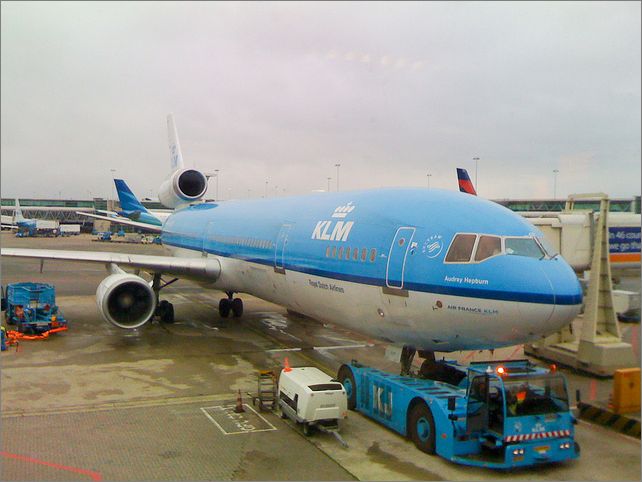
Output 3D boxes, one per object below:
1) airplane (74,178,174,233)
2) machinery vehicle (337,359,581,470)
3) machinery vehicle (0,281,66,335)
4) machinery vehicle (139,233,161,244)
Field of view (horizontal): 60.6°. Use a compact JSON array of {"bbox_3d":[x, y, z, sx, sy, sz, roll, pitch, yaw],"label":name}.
[{"bbox_3d":[-26.121,-3.381,71.813,8.820,2.834,8.484,-6,11,-37],"label":"airplane"},{"bbox_3d":[3.081,4.159,13.822,2.679,1.354,4.119,1,-2,-29],"label":"machinery vehicle"},{"bbox_3d":[-12.100,2.780,23.402,1.608,1.499,3.069,-1,11,-40],"label":"machinery vehicle"},{"bbox_3d":[-27.160,-0.266,87.374,2.219,1.330,3.230,-2,8,-38],"label":"machinery vehicle"}]
